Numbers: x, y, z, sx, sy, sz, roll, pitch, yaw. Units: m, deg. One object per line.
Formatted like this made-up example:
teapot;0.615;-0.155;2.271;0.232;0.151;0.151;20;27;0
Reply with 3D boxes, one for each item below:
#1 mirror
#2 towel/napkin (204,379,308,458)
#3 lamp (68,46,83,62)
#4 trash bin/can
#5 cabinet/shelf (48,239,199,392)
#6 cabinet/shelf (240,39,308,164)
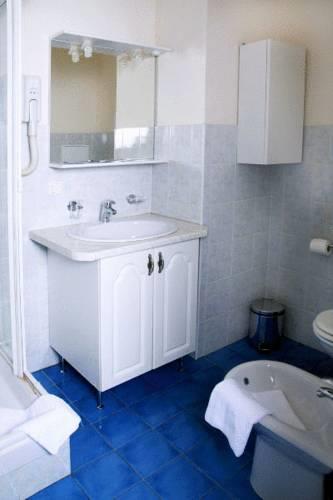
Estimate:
mirror;-0.353;-0.797;2.092;0.206;0.737;0.690;11;16;43
towel/napkin;0.310;0.533;1.320;0.325;0.144;0.260;-9;13;-28
lamp;-0.452;-0.960;1.945;0.066;0.090;0.070;-8;20;-25
trash bin/can;0.633;0.473;2.623;0.219;0.324;0.284;10;19;34
cabinet/shelf;-0.200;0.178;2.271;0.880;0.908;0.710;-11;18;-40
cabinet/shelf;0.625;-0.807;2.200;0.426;0.635;0.209;-4;12;-22
